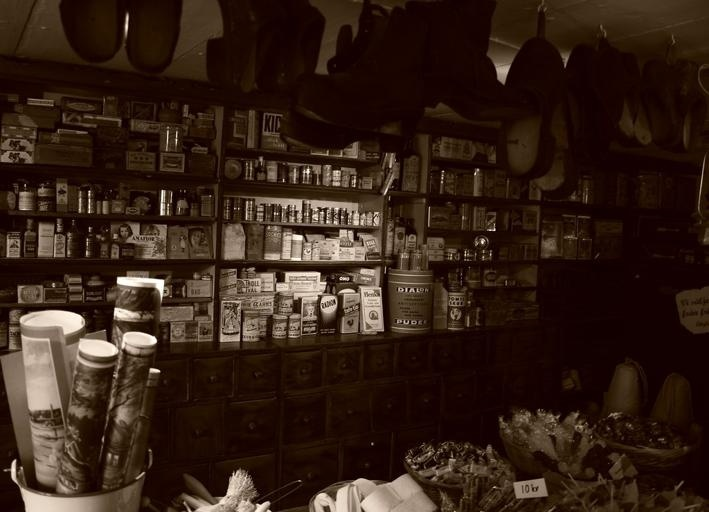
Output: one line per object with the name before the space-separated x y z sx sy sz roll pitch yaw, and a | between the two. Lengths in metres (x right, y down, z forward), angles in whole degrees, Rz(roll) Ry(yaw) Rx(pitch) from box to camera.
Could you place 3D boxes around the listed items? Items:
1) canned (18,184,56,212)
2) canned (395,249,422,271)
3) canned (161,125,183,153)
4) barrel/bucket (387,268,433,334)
canned | -1.916 -0.344 3.514 0.164 0.167 0.168 1 -1 42
canned | 0.402 0.025 4.284 0.143 0.154 0.146 2 2 16
canned | -1.181 -0.762 3.809 0.150 0.177 0.156 5 5 33
barrel/bucket | 0.411 0.325 4.448 0.401 0.487 0.408 0 6 0
